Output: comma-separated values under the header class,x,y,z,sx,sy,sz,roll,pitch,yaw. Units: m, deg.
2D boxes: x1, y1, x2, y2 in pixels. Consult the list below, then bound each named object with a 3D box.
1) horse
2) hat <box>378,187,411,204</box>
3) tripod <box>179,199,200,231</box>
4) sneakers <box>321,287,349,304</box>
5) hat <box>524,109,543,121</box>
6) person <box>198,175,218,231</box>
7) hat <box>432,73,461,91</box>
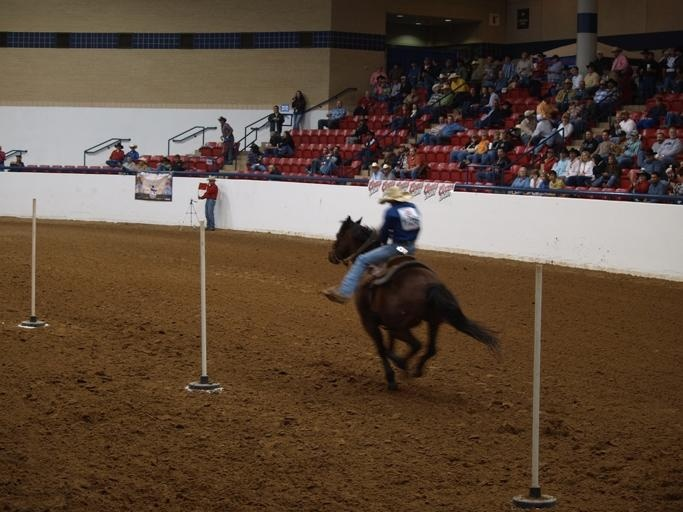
class,x,y,z,sx,sy,sz,roll,pitch,yaw
horse,1.042,0.850,14.349,1.077,2.384,4.171,-9,11,-30
hat,0.869,-0.968,14.493,0.477,0.290,0.318,1,13,1
tripod,-5.478,-1.454,32.581,1.012,1.172,0.828,3,31,-12
sneakers,-0.095,0.675,14.482,0.531,0.183,0.228,22,15,-1
hat,6.017,-4.407,28.154,0.489,0.164,0.352,-2,1,-28
person,-4.685,-1.830,31.917,0.686,1.831,1.329,-1,13,-8
hat,3.954,-6.480,33.288,0.969,0.390,0.960,3,-8,-5
